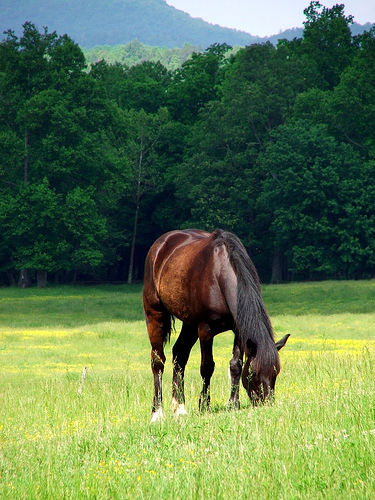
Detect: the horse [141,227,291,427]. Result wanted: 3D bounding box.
[{"bbox_3d":[0.367,1.392,16.065,0.993,3.450,3.985,-5,8,-29],"label":"horse"}]
